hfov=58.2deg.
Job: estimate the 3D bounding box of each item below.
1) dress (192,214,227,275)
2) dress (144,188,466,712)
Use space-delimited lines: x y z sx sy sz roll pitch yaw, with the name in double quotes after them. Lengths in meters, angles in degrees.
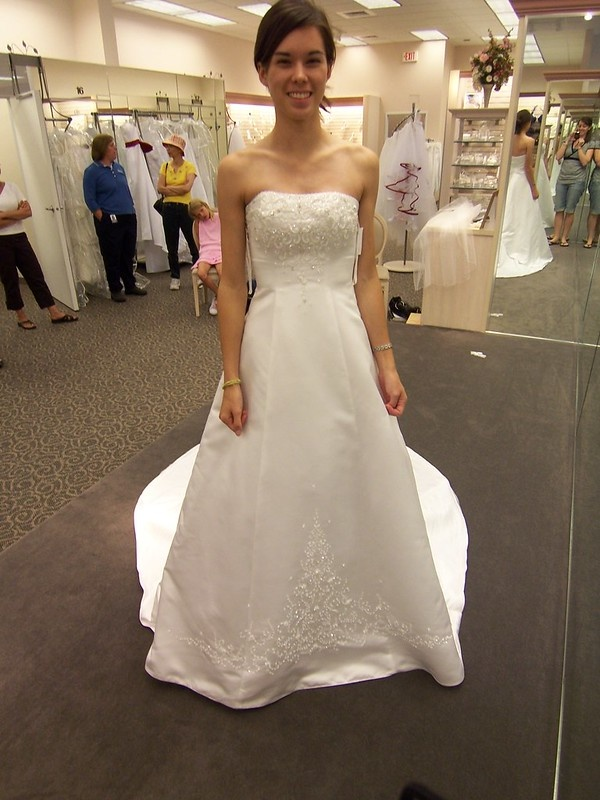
-0.828 -1.465 4.801 0.244 0.429 0.335 -11 23 -4 "dress"
0.028 0.047 1.412 0.887 1.201 0.671 -2 17 -2 "dress"
